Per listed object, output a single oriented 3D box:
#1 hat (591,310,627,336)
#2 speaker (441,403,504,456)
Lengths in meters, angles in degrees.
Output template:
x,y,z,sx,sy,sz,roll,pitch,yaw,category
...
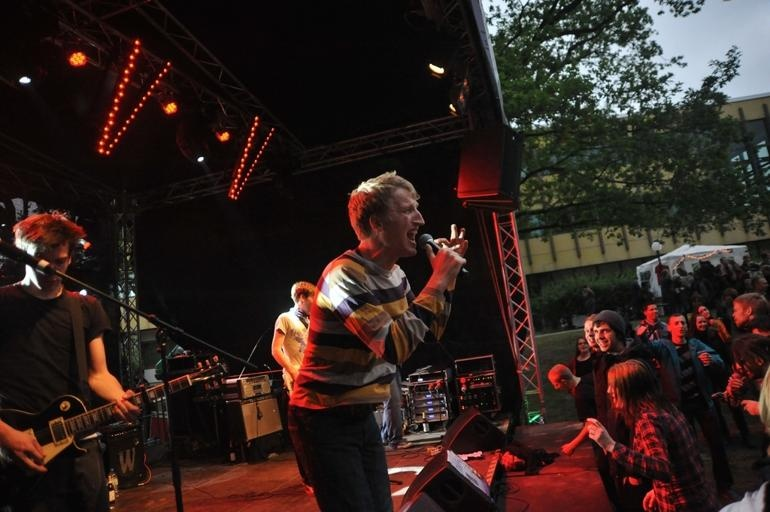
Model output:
x,y,z,sx,sy,sz,roll,pitch,yaw,category
2.684,0.810,6.024,0.358,0.323,0.295,-10,-9,10,hat
1.166,2.340,6.856,0.841,0.553,0.825,-4,-8,-6,speaker
